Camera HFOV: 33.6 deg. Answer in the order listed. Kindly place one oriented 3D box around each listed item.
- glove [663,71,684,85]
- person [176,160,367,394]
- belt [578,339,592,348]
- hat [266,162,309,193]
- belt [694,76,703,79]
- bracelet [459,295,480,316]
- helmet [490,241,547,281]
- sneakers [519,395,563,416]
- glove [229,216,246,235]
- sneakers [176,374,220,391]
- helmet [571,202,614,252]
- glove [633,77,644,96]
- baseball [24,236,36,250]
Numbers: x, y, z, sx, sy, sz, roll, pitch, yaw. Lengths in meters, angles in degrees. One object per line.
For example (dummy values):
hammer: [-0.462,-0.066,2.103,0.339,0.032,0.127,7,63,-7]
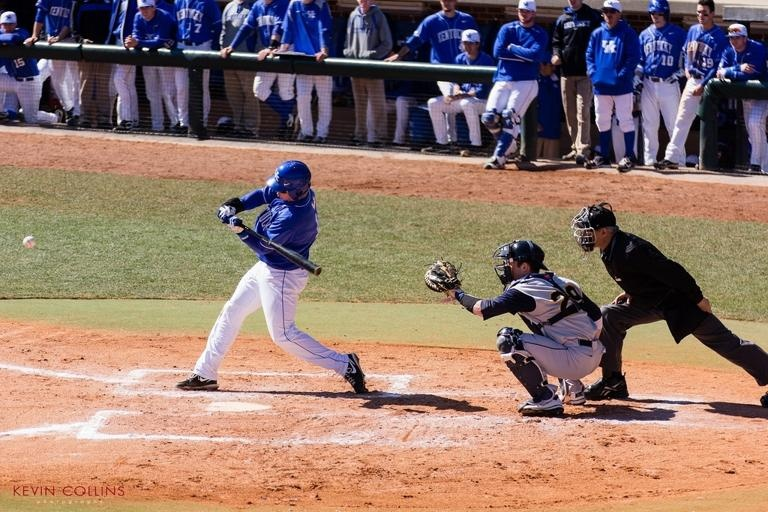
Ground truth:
glove: [4.026,-2.465,17.744,0.277,0.134,0.083,-28,-7,11]
person: [-1.079,0.227,12.530,1.755,2.299,0.543,3,7,-5]
belt: [1.909,0.833,12.197,0.110,0.075,0.025,5,11,2]
hat: [-0.877,-0.755,12.454,0.591,0.212,0.342,-1,26,13]
belt: [4.353,-2.463,17.667,0.108,0.041,0.021,0,-13,5]
bracelet: [0.826,0.462,12.026,0.082,0.100,0.340,40,2,-26]
helmet: [1.334,0.041,12.275,0.627,0.353,0.381,-6,3,16]
sneakers: [1.511,1.436,12.247,0.495,0.171,0.162,2,0,0]
glove: [-1.469,-0.280,12.497,0.095,0.199,0.153,-42,-19,7]
sneakers: [-1.869,1.270,12.730,0.491,0.148,0.149,3,6,2]
helmet: [2.063,-0.285,12.395,0.499,0.326,0.336,-19,4,-20]
glove: [3.588,-2.399,18.069,0.092,0.263,0.110,4,6,-2]
baseball: [-4.275,-0.150,15.350,0.206,0.146,0.184,-4,-7,-2]
